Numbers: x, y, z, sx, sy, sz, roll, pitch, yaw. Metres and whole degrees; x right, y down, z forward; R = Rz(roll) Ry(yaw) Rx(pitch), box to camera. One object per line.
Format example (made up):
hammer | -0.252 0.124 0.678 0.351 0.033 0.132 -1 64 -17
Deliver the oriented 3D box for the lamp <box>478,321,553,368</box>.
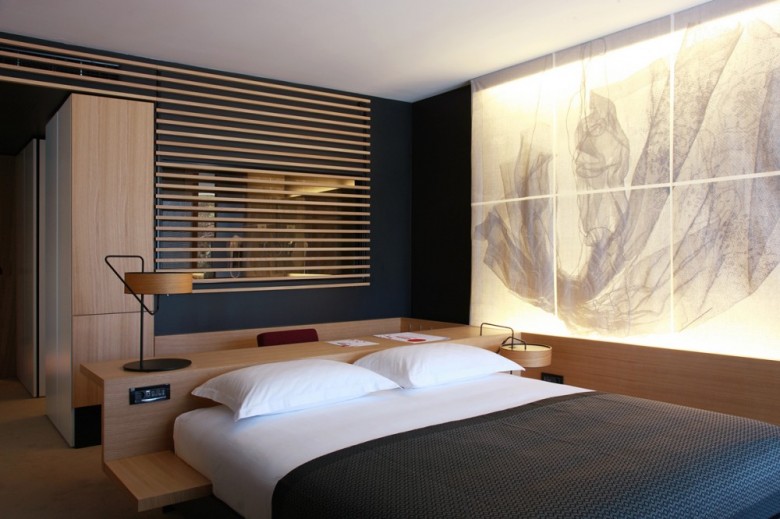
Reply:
lamp | 1.073 0.736 4.992 0.382 0.331 0.679 1 -4 -33
